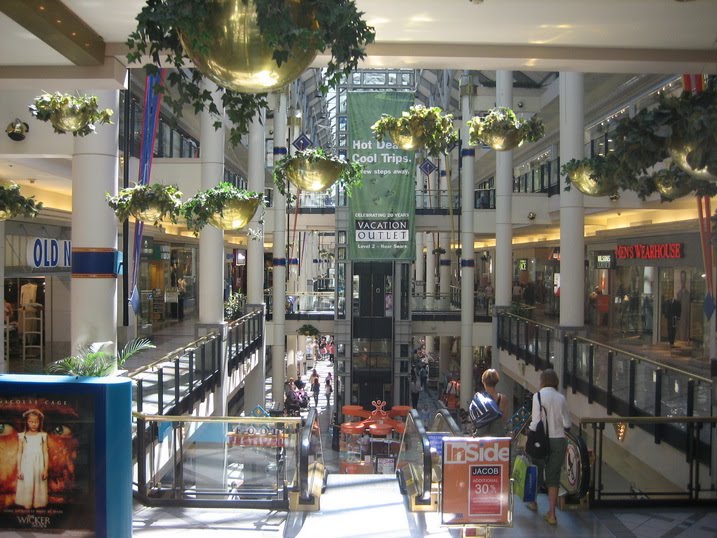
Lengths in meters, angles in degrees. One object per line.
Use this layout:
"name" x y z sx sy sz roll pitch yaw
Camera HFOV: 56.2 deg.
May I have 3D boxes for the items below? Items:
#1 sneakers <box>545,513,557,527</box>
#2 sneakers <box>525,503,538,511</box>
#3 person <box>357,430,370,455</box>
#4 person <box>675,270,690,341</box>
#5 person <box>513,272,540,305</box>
"sneakers" 1.989 2.555 6.891 0.112 0.104 0.115 -2 -2 16
"sneakers" 1.874 2.553 7.232 0.052 0.117 0.109 3 -9 -29
"person" 0.121 4.126 15.929 0.359 0.781 0.388 0 -1 -5
"person" 7.026 0.774 14.511 0.293 1.569 0.671 -2 -2 26
"person" 7.214 0.807 28.599 0.915 1.141 1.958 5 -3 9
